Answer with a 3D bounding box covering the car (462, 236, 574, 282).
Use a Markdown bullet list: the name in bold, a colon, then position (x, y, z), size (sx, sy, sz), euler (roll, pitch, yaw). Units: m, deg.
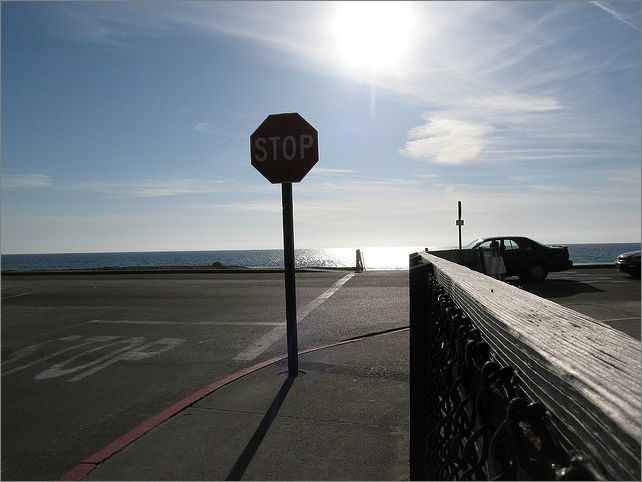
- **car**: position (5.997, 0.527, 13.985), size (3.444, 1.229, 1.470), euler (2, -1, 6)
